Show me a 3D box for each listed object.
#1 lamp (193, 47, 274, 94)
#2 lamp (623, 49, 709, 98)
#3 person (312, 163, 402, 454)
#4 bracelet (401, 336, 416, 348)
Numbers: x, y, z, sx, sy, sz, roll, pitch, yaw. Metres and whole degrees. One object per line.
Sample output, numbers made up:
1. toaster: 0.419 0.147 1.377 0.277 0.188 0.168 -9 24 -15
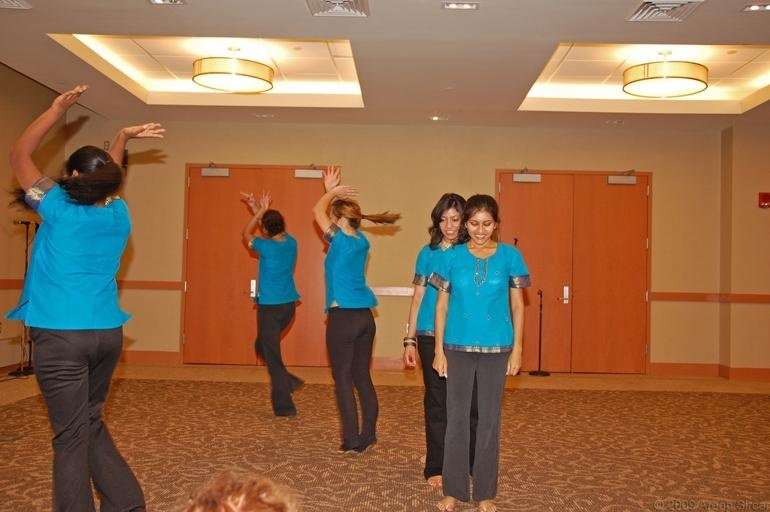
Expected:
1. lamp: -2.142 -2.815 8.025 1.011 0.422 0.991 7 11 16
2. lamp: 4.008 -2.691 7.745 0.687 0.284 0.665 -8 11 -21
3. person: -0.414 0.598 6.029 0.747 3.069 0.478 3 5 12
4. bracelet: 0.257 0.825 5.382 0.144 0.052 0.137 -6 0 22
